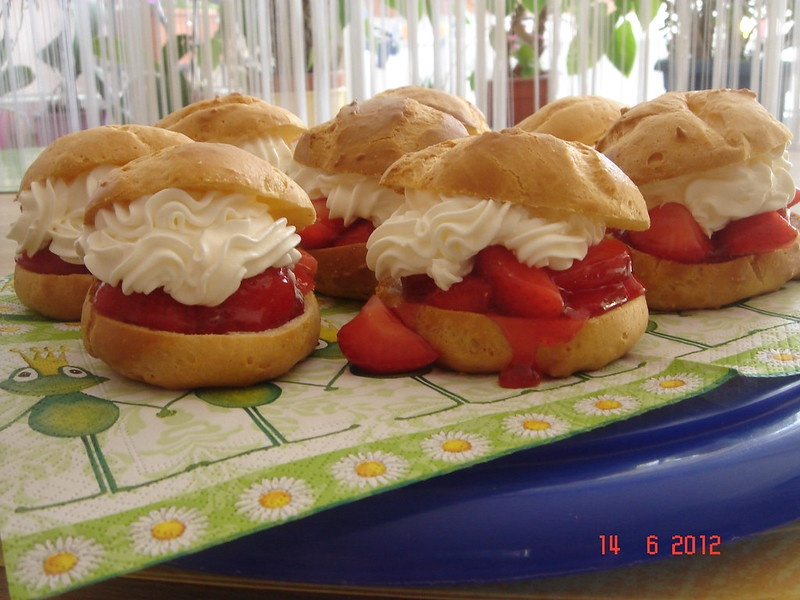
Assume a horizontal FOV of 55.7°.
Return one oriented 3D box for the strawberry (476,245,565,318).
[{"bbox_3d":[0.362,-0.046,2.433,0.289,0.226,0.098,42,-13,15],"label":"strawberry"}]
